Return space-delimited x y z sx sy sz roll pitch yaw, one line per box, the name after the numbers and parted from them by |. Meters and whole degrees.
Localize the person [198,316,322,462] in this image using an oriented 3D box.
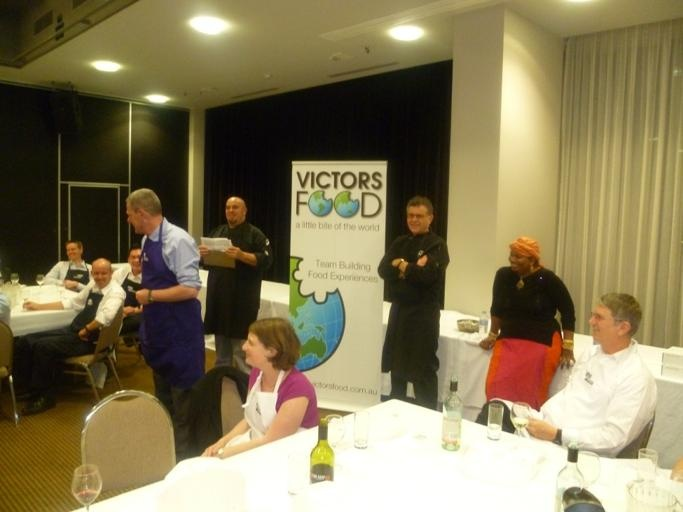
-0.471 0.785 2.943 0.637 0.830 0.543 -5 2 -29 | person

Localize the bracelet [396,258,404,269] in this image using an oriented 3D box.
0.481 0.057 4.331 0.063 0.068 0.125 5 7 18 | bracelet

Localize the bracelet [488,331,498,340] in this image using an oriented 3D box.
1.199 0.628 4.272 0.055 0.054 0.051 -3 7 -21 | bracelet

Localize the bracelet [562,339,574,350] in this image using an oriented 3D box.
1.666 0.654 3.983 0.066 0.075 0.066 2 -1 -20 | bracelet

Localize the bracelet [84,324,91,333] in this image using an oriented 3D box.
-2.342 0.667 4.972 0.047 0.024 0.063 5 28 38 | bracelet

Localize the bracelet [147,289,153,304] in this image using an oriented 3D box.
-1.345 0.291 3.783 0.043 0.075 0.067 -2 0 3 | bracelet

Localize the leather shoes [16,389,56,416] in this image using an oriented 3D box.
-2.760 1.322 4.877 0.271 0.132 0.220 -1 8 -33 | leather shoes

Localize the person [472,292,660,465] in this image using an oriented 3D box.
1.307 0.799 3.196 0.866 1.208 0.756 3 16 5 | person

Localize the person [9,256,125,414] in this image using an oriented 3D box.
-2.606 0.701 5.138 0.830 1.384 0.578 11 -5 -36 | person

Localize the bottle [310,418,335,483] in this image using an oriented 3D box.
-0.084 0.837 2.422 0.113 0.310 0.277 3 7 0 | bottle

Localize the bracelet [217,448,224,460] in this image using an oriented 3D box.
-0.616 0.998 2.731 0.027 0.040 0.014 -3 -14 29 | bracelet

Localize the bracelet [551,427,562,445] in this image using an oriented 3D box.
1.172 0.987 2.964 0.057 0.070 0.068 3 12 10 | bracelet

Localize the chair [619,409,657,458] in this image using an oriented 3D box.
1.633 0.973 2.985 0.185 0.295 0.215 1 -1 9 | chair
